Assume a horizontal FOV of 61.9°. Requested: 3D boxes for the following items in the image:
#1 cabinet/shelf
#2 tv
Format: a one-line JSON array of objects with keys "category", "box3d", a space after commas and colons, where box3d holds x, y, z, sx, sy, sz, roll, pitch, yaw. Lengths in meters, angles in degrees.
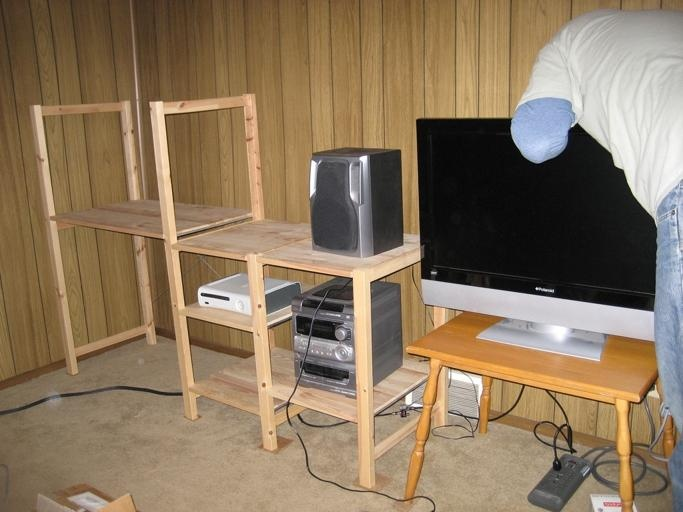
[{"category": "cabinet/shelf", "box3d": [-0.458, 0.155, 2.578, 1.555, 1.260, 0.496, 11, 19, 34]}, {"category": "tv", "box3d": [0.681, -0.059, 1.934, 0.802, 0.707, 0.193, 6, 17, 31]}]
